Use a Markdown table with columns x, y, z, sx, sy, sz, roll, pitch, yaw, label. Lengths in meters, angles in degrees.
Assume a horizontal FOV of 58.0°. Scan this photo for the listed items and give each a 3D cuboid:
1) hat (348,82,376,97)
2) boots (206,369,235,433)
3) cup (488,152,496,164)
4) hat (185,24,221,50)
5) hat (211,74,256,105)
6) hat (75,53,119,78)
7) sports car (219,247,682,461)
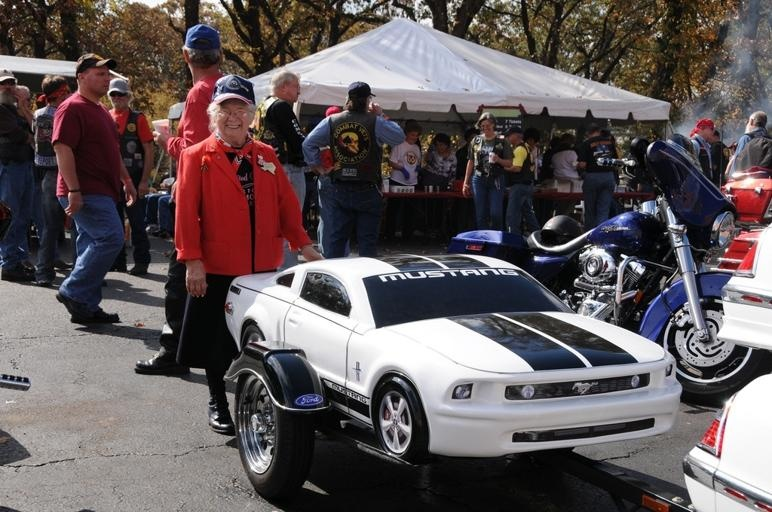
| x | y | z | sx | sy | sz | roll | pitch | yaw | label |
| --- | --- | --- | --- | --- | --- | --- | --- | --- | --- |
| -0.288 | -2.050 | 8.474 | 0.186 | 0.124 | 0.285 | 11 | 22 | 23 | hat |
| -1.378 | 1.213 | 5.798 | 0.212 | 0.496 | 0.498 | 2 | 7 | -28 | boots |
| 1.868 | -1.764 | 12.342 | 0.139 | 0.255 | 0.141 | 2 | 1 | 0 | cup |
| -1.785 | -2.127 | 6.750 | 0.308 | 0.261 | 0.317 | 0 | 12 | -9 | hat |
| -1.244 | -1.349 | 5.626 | 0.328 | 0.238 | 0.294 | 0 | 12 | -10 | hat |
| -3.487 | -2.296 | 8.205 | 0.508 | 0.241 | 0.345 | -12 | 12 | -7 | hat |
| 0.187 | 0.496 | 5.092 | 1.611 | 0.773 | 2.577 | -3 | 5 | -34 | sports car |
